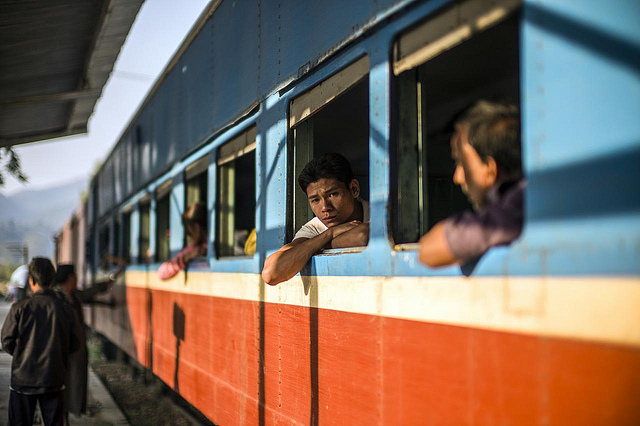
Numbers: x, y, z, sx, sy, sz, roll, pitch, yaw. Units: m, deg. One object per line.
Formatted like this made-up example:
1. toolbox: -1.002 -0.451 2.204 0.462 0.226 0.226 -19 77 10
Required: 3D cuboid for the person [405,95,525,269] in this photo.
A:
1. person: 0.804 -0.126 2.835 0.605 0.745 0.997 -1 -1 33
